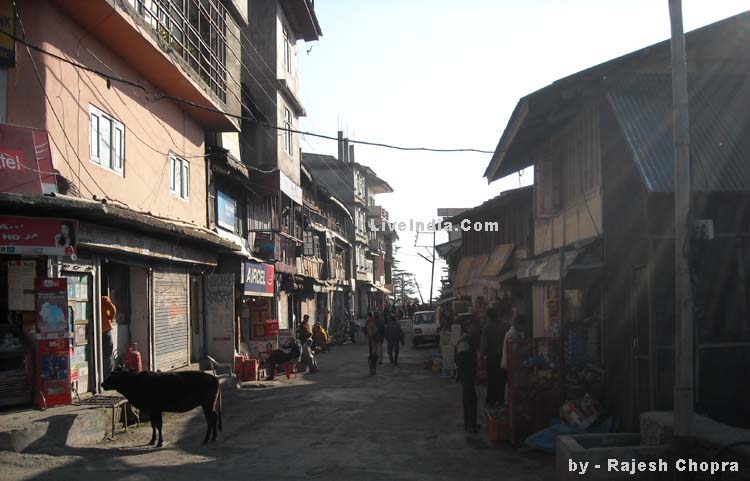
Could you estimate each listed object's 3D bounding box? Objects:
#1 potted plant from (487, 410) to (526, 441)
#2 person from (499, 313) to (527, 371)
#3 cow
[{"bbox_3d":[2.603,3.792,14.856,0.492,0.381,0.745,1,-4,-1],"label":"potted plant"},{"bbox_3d":[3.000,2.147,15.779,0.541,1.174,1.854,-3,-12,10],"label":"person"},{"bbox_3d":[-4.361,3.443,15.295,2.146,1.607,0.766,-2,-10,3],"label":"cow"}]
